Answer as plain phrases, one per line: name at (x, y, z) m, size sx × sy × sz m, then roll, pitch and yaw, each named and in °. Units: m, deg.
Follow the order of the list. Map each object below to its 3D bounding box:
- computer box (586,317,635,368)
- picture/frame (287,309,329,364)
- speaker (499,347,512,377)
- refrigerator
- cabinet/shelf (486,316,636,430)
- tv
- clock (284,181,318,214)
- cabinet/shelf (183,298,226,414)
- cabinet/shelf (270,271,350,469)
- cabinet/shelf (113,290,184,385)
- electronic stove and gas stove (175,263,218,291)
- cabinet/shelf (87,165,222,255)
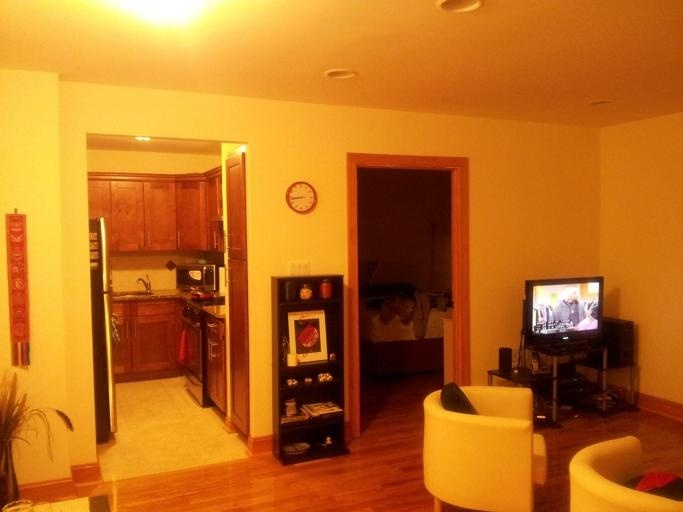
computer box at (3.077, 0.933, 6.515) m, size 0.232 × 0.409 × 0.392 m, roll -2°, pitch 2°, yaw -16°
picture/frame at (-0.327, 0.749, 5.366) m, size 0.494 × 0.571 × 0.033 m, roll -3°, pitch -5°, yaw -33°
speaker at (1.718, 1.097, 6.064) m, size 0.125 × 0.264 × 0.165 m, roll 0°, pitch 7°, yaw 9°
refrigerator at (-2.228, 0.727, 5.413) m, size 0.204 × 2.166 × 0.497 m, roll -4°, pitch 7°, yaw -23°
cabinet/shelf at (2.543, 1.133, 6.442) m, size 1.264 × 0.855 × 0.601 m, roll 2°, pitch 3°, yaw -17°
tv at (2.397, 0.571, 6.234) m, size 1.040 × 0.689 × 0.109 m, roll -4°, pitch 7°, yaw -22°
clock at (-0.362, -0.547, 5.394) m, size 0.285 × 0.282 × 0.060 m, roll -1°, pitch 5°, yaw -28°
cabinet/shelf at (-1.518, 1.133, 6.510) m, size 0.496 × 0.892 × 1.264 m, roll 1°, pitch 1°, yaw -19°
cabinet/shelf at (-0.274, 0.987, 5.326) m, size 0.726 × 1.628 × 0.478 m, roll -3°, pitch 7°, yaw -13°
cabinet/shelf at (-2.860, 1.049, 7.894) m, size 1.167 × 1.115 × 0.724 m, roll -1°, pitch 6°, yaw -20°
electronic stove and gas stove at (-1.995, 0.284, 8.023) m, size 0.571 × 0.368 × 0.368 m, roll 0°, pitch -2°, yaw 22°
cabinet/shelf at (-2.554, -0.593, 7.896) m, size 1.821 × 1.066 × 0.791 m, roll -2°, pitch 4°, yaw -19°
